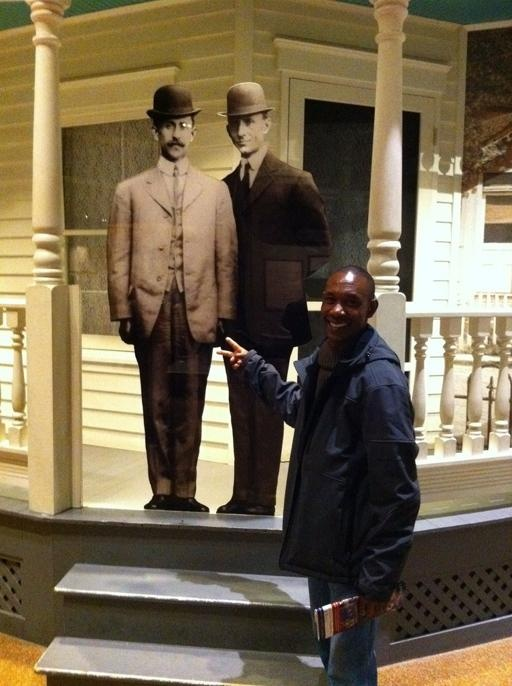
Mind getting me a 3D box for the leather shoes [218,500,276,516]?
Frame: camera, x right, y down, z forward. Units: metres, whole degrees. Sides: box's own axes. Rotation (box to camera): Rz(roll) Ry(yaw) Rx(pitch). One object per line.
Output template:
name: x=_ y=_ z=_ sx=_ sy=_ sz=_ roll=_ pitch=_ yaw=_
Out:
leather shoes: x=-0.049 y=0.783 z=3.949 sx=0.296 sy=0.090 sz=0.087 roll=4 pitch=-5 yaw=1
